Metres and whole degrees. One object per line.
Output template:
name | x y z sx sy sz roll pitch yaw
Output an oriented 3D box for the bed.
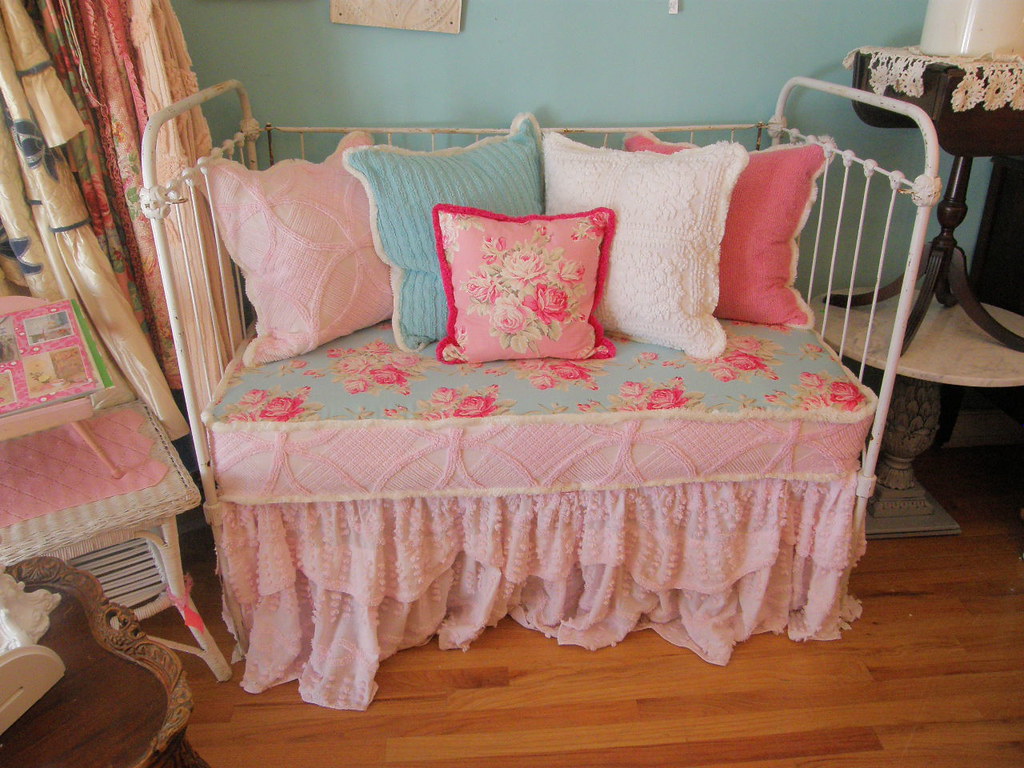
bed | 0.026 -0.288 2.450 1.766 1.074 0.691 -4 27 3
